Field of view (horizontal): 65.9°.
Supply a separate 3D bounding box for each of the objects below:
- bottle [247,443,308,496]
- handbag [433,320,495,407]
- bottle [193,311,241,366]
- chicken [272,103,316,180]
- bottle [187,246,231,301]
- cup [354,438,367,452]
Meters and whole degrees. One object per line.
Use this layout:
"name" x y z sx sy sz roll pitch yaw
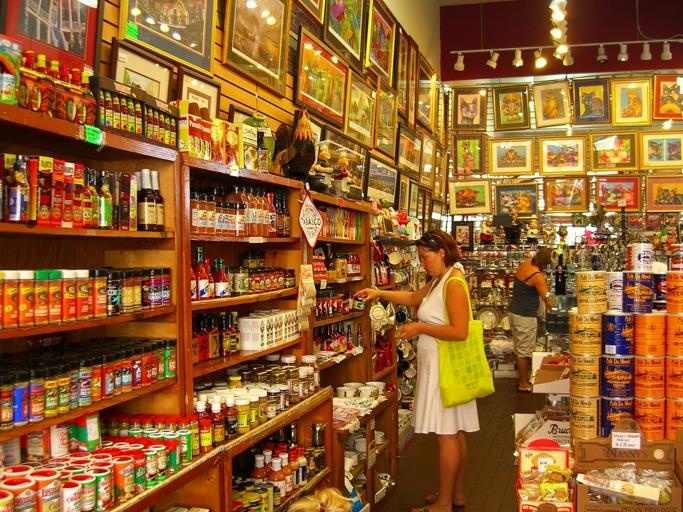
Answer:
"bottle" -0.337 1.171 2.961 0.314 0.281 0.194 6 -8 -40
"handbag" 0.846 0.716 3.577 0.408 0.431 0.128 -3 -3 -27
"bottle" -0.634 0.421 2.659 0.107 0.290 0.329 -1 -2 20
"chicken" -0.320 -0.675 3.310 0.319 0.430 0.275 0 -2 -35
"bottle" -0.663 0.095 2.616 0.114 0.250 0.282 -2 -1 21
"cup" 0.156 1.456 4.084 0.101 0.057 0.097 1 1 0
